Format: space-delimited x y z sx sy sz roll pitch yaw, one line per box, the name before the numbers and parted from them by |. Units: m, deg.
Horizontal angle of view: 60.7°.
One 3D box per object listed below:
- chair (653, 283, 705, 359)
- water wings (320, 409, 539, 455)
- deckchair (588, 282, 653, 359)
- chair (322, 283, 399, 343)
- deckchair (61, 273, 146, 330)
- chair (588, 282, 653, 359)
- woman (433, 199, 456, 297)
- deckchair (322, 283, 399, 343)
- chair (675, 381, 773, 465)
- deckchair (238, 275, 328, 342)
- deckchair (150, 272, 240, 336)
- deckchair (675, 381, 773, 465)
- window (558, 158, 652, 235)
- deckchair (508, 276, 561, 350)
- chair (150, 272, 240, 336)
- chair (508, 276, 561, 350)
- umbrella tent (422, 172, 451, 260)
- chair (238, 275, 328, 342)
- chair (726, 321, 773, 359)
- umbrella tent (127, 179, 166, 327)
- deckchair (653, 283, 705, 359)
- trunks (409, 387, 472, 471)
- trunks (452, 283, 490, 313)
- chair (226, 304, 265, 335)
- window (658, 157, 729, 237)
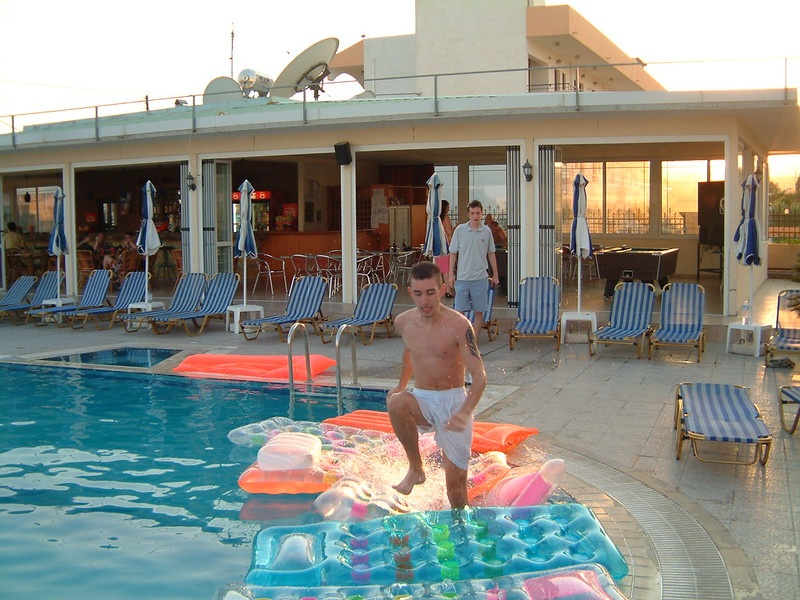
chair | 4.252 0.297 10.487 0.737 1.051 1.220 2 6 24
water wings | -0.227 1.215 6.720 1.048 0.204 1.867 -8 -3 -32
deckchair | 3.498 0.272 10.749 0.754 0.985 1.408 3 14 25
chair | -0.646 0.215 11.598 0.815 0.936 1.456 1 6 32
deckchair | -6.078 -0.017 14.321 0.974 1.310 1.823 1 4 28
chair | 3.527 0.260 10.756 0.754 0.985 1.408 3 14 25
woman | 0.850 -1.013 13.862 0.472 1.751 0.553 0 11 -12
deckchair | -0.649 0.216 11.611 0.802 0.961 1.475 0 6 27
chair | 2.980 1.145 6.407 0.777 0.379 1.429 0 11 16
deckchair | -1.990 0.128 12.027 0.905 1.103 1.576 1 3 37
deckchair | -4.184 0.056 13.140 0.743 0.972 1.370 3 9 8
deckchair | 2.933 1.029 6.270 0.551 0.289 1.066 1 15 8
window | 5.521 -2.707 18.021 2.753 2.141 0.117 2 4 26
deckchair | 2.235 0.195 11.419 0.797 1.095 1.110 0 6 11
chair | -4.216 0.050 13.162 0.720 0.952 1.339 1 10 10
chair | 2.222 0.209 11.234 0.738 0.941 1.380 -1 15 17
umbrella tent | 0.624 -1.477 12.085 0.433 1.459 0.594 -1 5 2
chair | -2.005 0.140 12.054 0.849 1.078 1.573 0 3 31
chair | 5.362 0.575 10.562 0.557 0.478 0.570 2 5 36
umbrella tent | -5.243 -0.885 14.081 0.781 3.002 0.795 8 8 30
deckchair | 4.231 0.294 10.395 0.719 0.955 1.262 2 10 32
trunks | 0.326 0.904 5.029 0.423 0.628 0.340 4 13 25
trunks | 1.008 -0.083 9.636 0.598 0.640 0.362 1 2 8
chair | -3.080 0.322 13.446 0.579 0.475 0.590 -2 2 -19
window | 8.167 -2.792 19.054 1.903 2.643 0.094 0 -13 20
